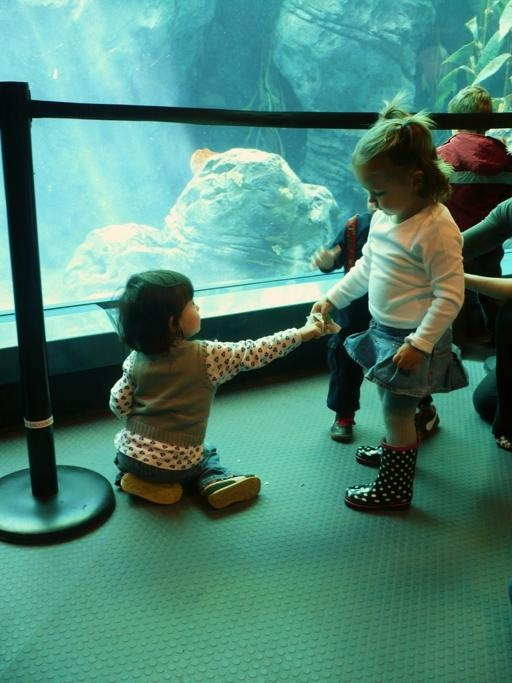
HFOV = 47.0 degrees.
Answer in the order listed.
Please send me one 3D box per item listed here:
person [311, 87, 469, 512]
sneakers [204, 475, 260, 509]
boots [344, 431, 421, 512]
[{"bbox_3d":[0.325,-0.063,1.432,0.314,0.957,0.388,-8,16,-13],"label":"person"},{"bbox_3d":[-0.063,0.369,1.488,0.154,0.064,0.067,-4,8,-20],"label":"sneakers"},{"bbox_3d":[0.326,0.328,1.511,0.241,0.207,0.108,2,16,6],"label":"boots"}]
